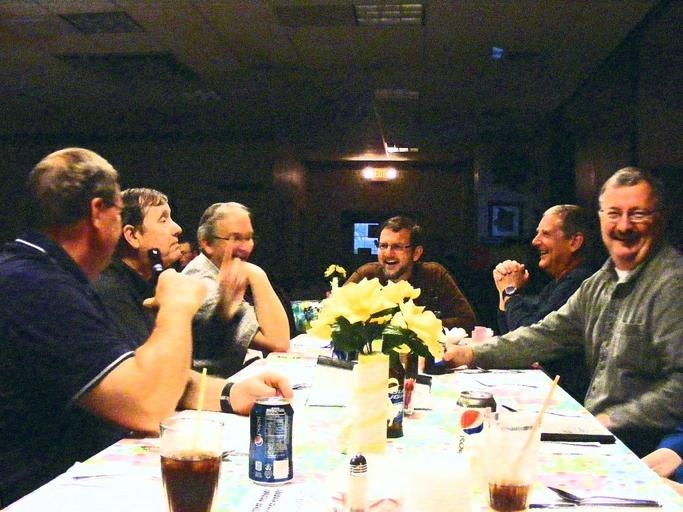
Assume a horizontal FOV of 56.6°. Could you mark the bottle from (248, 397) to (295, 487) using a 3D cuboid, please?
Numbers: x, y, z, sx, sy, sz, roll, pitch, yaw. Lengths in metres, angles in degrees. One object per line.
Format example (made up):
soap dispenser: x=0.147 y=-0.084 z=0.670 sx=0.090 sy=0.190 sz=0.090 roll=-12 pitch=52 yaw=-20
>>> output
bottle: x=-0.180 y=0.472 z=1.621 sx=0.108 sy=0.198 sz=0.098 roll=1 pitch=4 yaw=0

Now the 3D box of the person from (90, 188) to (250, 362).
person: x=-0.751 y=-0.004 z=3.215 sx=0.682 sy=1.114 sz=0.494 roll=-7 pitch=6 yaw=-10

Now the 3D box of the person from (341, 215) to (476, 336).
person: x=0.408 y=0.124 z=4.328 sx=1.023 sy=0.699 sz=0.601 roll=12 pitch=15 yaw=36

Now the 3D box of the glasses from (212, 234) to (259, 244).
glasses: x=-0.606 y=-0.092 z=3.536 sx=0.130 sy=0.035 sz=0.126 roll=-3 pitch=-3 yaw=22

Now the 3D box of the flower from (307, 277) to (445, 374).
flower: x=0.112 y=0.194 z=1.800 sx=0.278 sy=0.172 sz=0.286 roll=-4 pitch=-8 yaw=43

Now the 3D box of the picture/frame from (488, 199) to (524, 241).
picture/frame: x=1.182 y=-0.252 z=4.638 sx=0.289 sy=0.255 sz=0.272 roll=0 pitch=-4 yaw=2

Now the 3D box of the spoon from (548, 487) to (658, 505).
spoon: x=0.634 y=0.590 z=1.541 sx=0.257 sy=0.015 sz=0.066 roll=2 pitch=2 yaw=15

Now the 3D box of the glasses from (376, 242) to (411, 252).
glasses: x=0.353 y=-0.056 z=4.266 sx=0.216 sy=0.051 sz=0.068 roll=1 pitch=3 yaw=10

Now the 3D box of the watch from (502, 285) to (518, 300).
watch: x=1.019 y=0.225 z=3.880 sx=0.096 sy=0.062 sz=0.087 roll=35 pitch=-11 yaw=41

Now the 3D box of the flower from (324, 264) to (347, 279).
flower: x=-0.044 y=0.107 z=4.097 sx=0.118 sy=0.060 sz=0.117 roll=-3 pitch=-7 yaw=29
